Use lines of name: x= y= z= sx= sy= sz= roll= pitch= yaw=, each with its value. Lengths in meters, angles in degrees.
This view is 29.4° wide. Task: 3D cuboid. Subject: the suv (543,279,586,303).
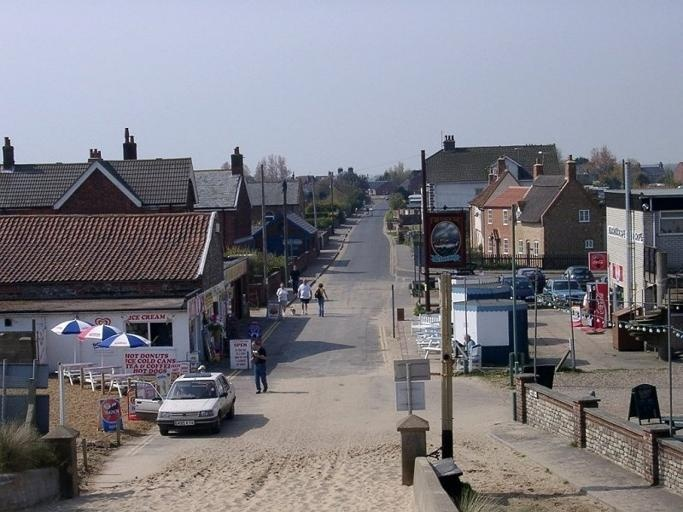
suv: x=11.314 y=1.481 z=65.829 sx=1.361 sy=1.349 sz=2.498 roll=-1 pitch=12 yaw=-3

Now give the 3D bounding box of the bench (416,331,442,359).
bench: x=3.710 y=3.716 z=54.969 sx=0.693 sy=1.418 sz=0.929 roll=-1 pitch=-5 yaw=5

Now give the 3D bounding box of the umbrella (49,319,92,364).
umbrella: x=-10.354 y=3.515 z=50.415 sx=1.508 sy=2.319 sz=1.664 roll=3 pitch=9 yaw=22
